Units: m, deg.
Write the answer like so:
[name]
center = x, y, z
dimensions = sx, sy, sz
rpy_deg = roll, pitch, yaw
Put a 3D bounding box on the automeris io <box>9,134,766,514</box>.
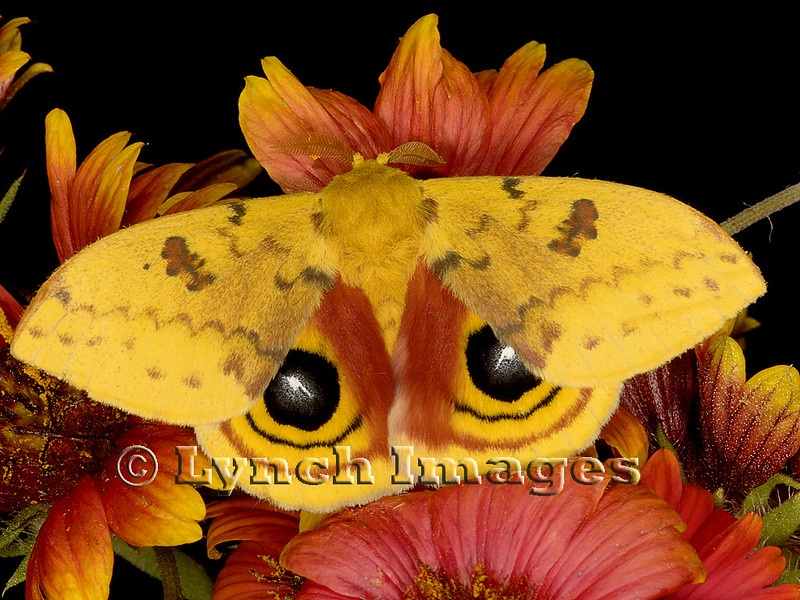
[automeris io]
center = -0.031, 0.050, 1.173
dimensions = 0.939, 0.098, 0.435
rpy_deg = -3, 86, 6
